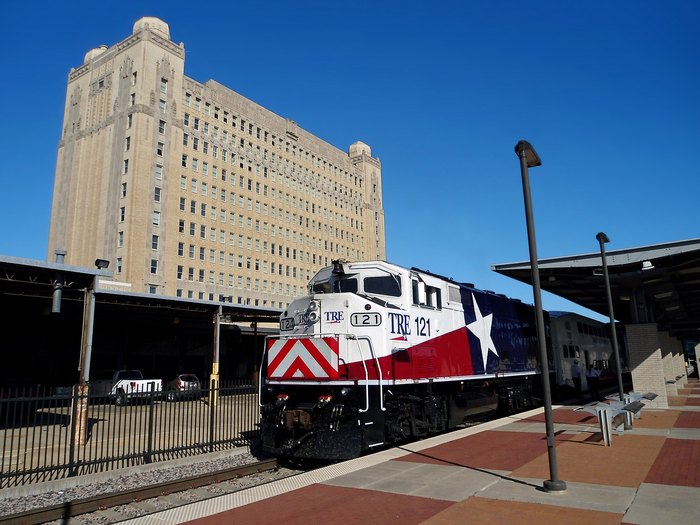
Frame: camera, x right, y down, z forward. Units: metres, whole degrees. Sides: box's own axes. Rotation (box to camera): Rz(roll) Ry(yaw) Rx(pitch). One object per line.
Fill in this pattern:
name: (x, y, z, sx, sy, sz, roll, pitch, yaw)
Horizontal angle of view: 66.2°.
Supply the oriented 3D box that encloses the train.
train: (3.218, 3.319, 20.163, 3.829, 5.478, 15.023, -7, -12, 37)
